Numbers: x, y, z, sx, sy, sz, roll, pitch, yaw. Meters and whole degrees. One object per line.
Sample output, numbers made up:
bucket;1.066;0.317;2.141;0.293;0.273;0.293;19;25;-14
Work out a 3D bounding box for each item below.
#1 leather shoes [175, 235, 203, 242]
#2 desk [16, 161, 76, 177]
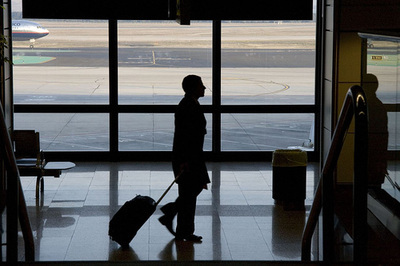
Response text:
leather shoes;-0.182;1.721;9.319;0.440;0.172;0.143;0;1;-2
desk;-3.116;0.716;11.476;1.081;0.313;0.523;-4;14;-14
